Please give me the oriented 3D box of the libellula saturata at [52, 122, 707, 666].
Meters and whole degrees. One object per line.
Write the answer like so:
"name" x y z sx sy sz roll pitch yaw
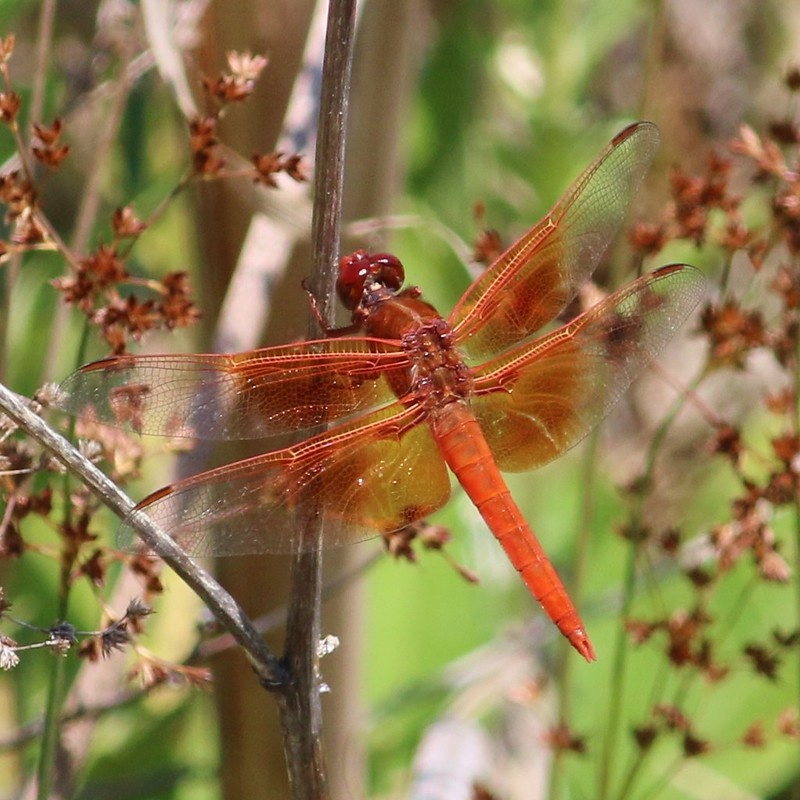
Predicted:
"libellula saturata" -0.030 -0.040 1.282 0.661 0.543 0.247 -30 11 -23
